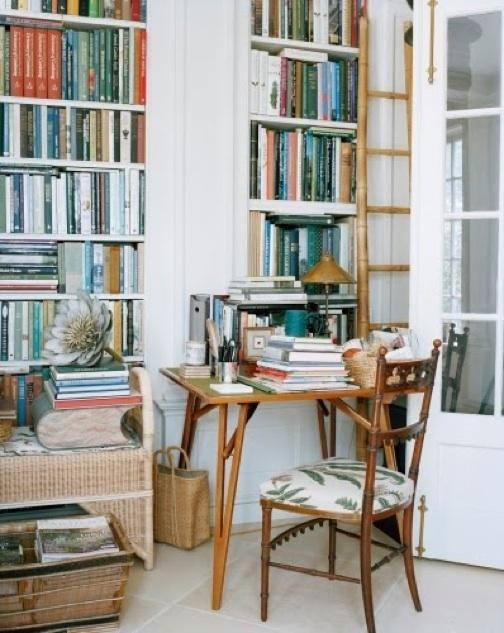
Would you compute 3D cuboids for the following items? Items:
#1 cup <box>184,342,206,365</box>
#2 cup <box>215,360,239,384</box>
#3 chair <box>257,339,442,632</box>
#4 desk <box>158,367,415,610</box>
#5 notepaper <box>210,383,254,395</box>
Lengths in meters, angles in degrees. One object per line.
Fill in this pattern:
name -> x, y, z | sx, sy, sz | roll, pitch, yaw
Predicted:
cup -> -0.214, 0.141, 2.914 | 0.073, 0.093, 0.078 | 1, -1, 0
cup -> -0.087, 0.200, 2.725 | 0.070, 0.080, 0.066 | 1, 5, 0
chair -> 0.348, 0.523, 2.647 | 0.566, 0.937, 0.733 | 2, 5, 14
desk -> 0.073, 0.452, 2.904 | 0.832, 0.720, 0.743 | -1, 1, -21
notepaper -> -0.063, 0.239, 2.566 | 0.142, 0.020, 0.181 | 0, 6, -10
